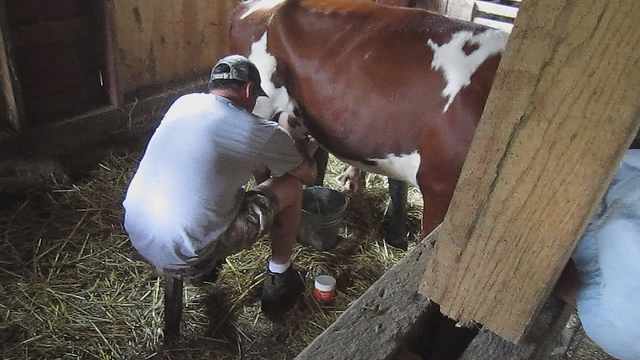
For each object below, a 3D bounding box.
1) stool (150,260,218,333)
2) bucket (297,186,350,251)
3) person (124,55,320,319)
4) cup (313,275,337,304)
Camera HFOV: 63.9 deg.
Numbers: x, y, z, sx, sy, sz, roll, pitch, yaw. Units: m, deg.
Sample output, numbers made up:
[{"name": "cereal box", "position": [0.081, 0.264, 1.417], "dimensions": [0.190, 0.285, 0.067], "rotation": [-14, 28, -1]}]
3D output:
[{"name": "stool", "position": [-0.945, 0.755, 3.412], "dimensions": [0.450, 0.482, 0.468], "rotation": [-12, -19, 32]}, {"name": "bucket", "position": [0.017, 0.322, 4.193], "dimensions": [0.392, 0.310, 0.375], "rotation": [11, 33, -7]}, {"name": "person", "position": [-0.624, 0.126, 3.397], "dimensions": [1.231, 1.693, 0.734], "rotation": [-3, 35, -19]}, {"name": "cup", "position": [0.040, 0.802, 3.814], "dimensions": [0.169, 0.136, 0.159], "rotation": [5, 22, -2]}]
